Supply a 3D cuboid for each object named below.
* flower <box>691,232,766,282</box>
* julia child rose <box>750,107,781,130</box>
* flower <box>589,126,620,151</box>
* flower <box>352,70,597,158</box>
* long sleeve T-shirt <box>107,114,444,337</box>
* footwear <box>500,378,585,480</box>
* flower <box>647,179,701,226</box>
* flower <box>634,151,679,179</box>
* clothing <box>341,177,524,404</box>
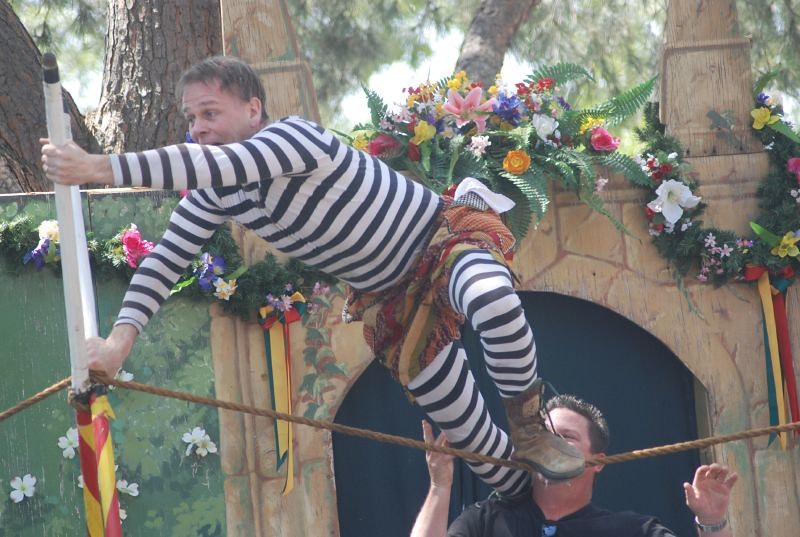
[{"bbox_3d":[2.262,-0.075,15.288,0.318,0.374,0.190,-21,-44,-14],"label":"flower"},{"bbox_3d":[2.541,-1.049,15.306,0.181,0.144,0.089,-11,2,13],"label":"julia child rose"},{"bbox_3d":[1.425,-0.889,15.296,0.182,0.168,0.082,13,-34,-19],"label":"flower"},{"bbox_3d":[0.535,-1.008,14.960,1.286,0.453,1.293,-4,-7,17],"label":"flower"},{"bbox_3d":[-0.884,-0.261,14.396,2.009,1.209,1.223,-2,-9,-11],"label":"long sleeve T-shirt"},{"bbox_3d":[0.917,1.039,14.021,0.270,0.521,0.705,-12,13,-34],"label":"footwear"},{"bbox_3d":[1.894,-0.449,15.294,0.352,0.322,0.112,-3,-8,1],"label":"flower"},{"bbox_3d":[1.795,-0.712,15.310,0.295,0.207,0.111,-4,-8,5],"label":"flower"},{"bbox_3d":[0.197,0.154,14.366,0.623,1.350,1.006,9,0,15],"label":"clothing"}]
